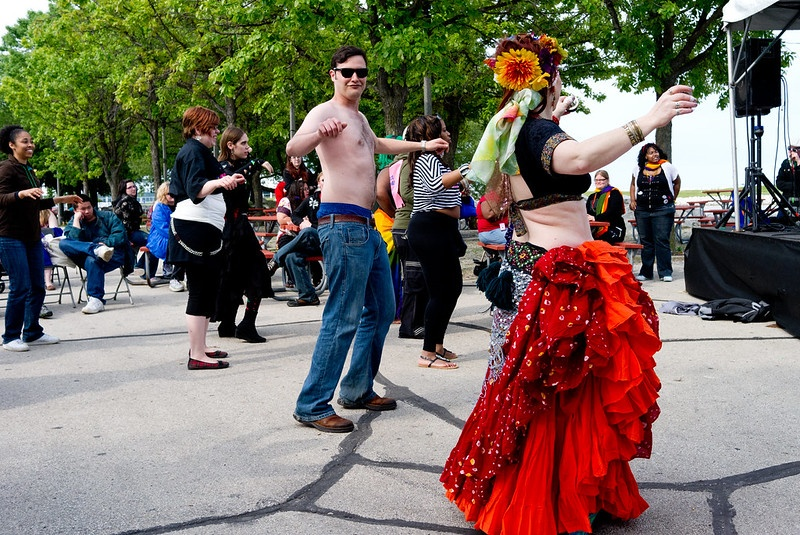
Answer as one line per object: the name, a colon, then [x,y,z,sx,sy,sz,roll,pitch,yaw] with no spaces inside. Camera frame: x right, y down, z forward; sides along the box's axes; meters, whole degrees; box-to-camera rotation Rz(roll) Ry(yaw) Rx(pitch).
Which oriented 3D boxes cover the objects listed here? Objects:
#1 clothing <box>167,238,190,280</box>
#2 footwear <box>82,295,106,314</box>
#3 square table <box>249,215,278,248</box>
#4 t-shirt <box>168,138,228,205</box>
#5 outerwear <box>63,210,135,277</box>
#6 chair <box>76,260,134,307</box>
clothing: [-2.238,-0.084,6.639,0.163,0.493,0.214,-19,-30,-6]
footwear: [-4.428,0.547,9.621,0.160,0.171,0.394,1,-3,-9]
square table: [-3.014,-0.817,14.865,0.486,0.558,1.327,-5,10,-21]
t-shirt: [-2.007,-0.906,6.440,0.543,0.661,0.947,-3,6,-8]
outerwear: [-4.644,-0.435,10.241,0.955,0.990,1.390,-6,9,-24]
chair: [-5.333,0.118,11.893,0.699,0.961,0.804,-9,-8,-27]
